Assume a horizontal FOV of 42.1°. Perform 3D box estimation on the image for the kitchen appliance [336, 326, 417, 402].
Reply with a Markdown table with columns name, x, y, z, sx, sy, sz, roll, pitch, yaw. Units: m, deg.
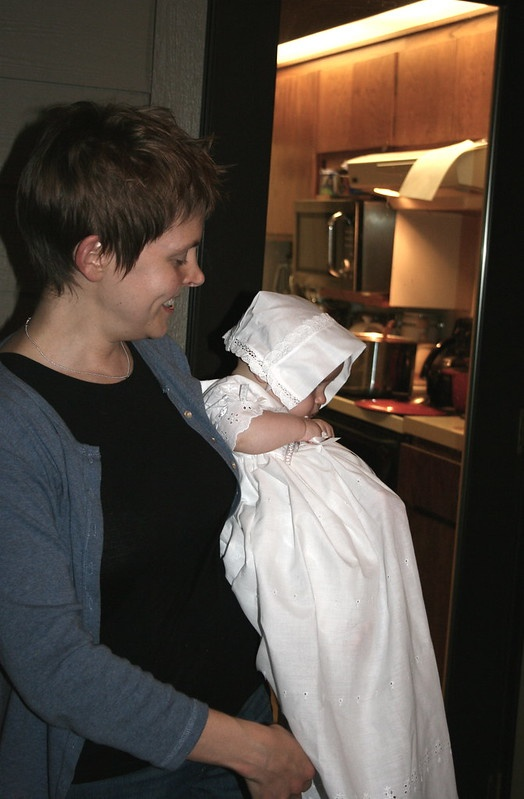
| name | x | y | z | sx | sy | sz | roll | pitch | yaw |
| --- | --- | --- | --- | --- | --- | --- | --- | --- | --- |
| kitchen appliance | 0.442 | -0.134 | 2.713 | 0.250 | 0.233 | 0.351 | 1 | 11 | -29 |

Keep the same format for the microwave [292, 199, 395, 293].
| name | x | y | z | sx | sy | sz | roll | pitch | yaw |
| --- | --- | --- | --- | --- | --- | --- | --- | --- | --- |
| microwave | 0.357 | -0.647 | 2.843 | 0.357 | 0.336 | 0.553 | -7 | 17 | -20 |

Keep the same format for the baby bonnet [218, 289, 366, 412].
| name | x | y | z | sx | sy | sz | roll | pitch | yaw |
| --- | --- | --- | --- | --- | --- | --- | --- | --- | --- |
| baby bonnet | 0.014 | -0.091 | 1.419 | 0.248 | 0.204 | 0.254 | 41 | 45 | 14 |
